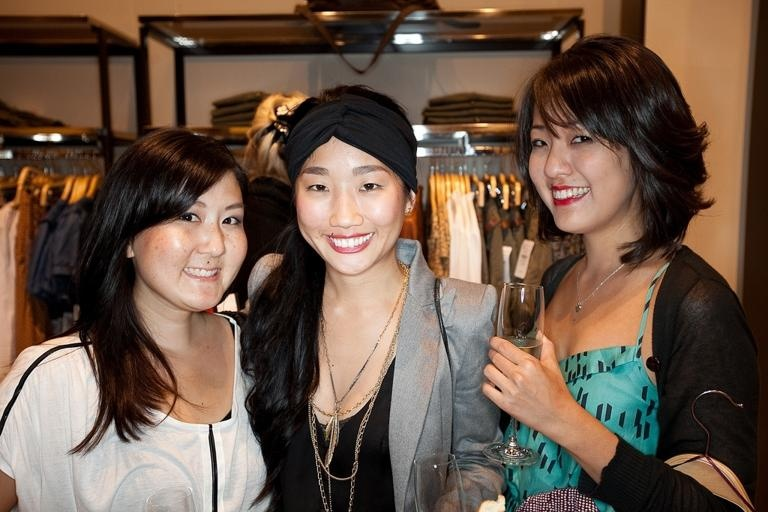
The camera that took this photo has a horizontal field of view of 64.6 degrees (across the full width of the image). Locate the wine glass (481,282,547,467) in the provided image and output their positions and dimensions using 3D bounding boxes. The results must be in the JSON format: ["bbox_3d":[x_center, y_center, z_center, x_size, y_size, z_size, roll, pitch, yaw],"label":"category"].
[{"bbox_3d":[0.478,0.466,2.292,0.210,0.735,0.288,-1,3,-1],"label":"wine glass"}]

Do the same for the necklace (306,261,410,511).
[{"bbox_3d":[-0.138,0.562,2.465,0.290,1.070,0.043,2,-4,5],"label":"necklace"}]

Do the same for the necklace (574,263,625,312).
[{"bbox_3d":[0.865,0.139,2.455,0.030,0.280,0.094,15,28,-50],"label":"necklace"}]
